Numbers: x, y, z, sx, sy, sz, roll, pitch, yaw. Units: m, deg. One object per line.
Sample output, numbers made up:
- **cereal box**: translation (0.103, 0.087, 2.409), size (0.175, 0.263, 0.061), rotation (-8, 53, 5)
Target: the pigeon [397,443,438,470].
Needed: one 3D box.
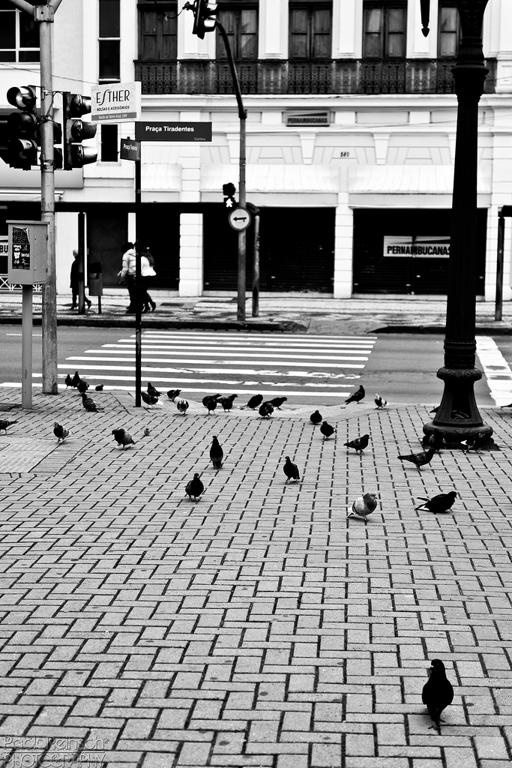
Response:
- **pigeon**: translation (1.422, 0.631, 11.155), size (0.289, 0.208, 0.540), rotation (1, 7, 4)

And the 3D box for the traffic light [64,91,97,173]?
- **traffic light**: translation (-2.200, -3.193, 15.686), size (0.405, 0.948, 0.650), rotation (0, 6, -9)

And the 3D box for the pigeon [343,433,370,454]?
- **pigeon**: translation (0.950, 0.549, 11.808), size (0.242, 0.231, 0.128), rotation (1, 3, 16)

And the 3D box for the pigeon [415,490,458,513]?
- **pigeon**: translation (1.353, 0.861, 9.334), size (0.297, 0.167, 0.296), rotation (0, 7, -3)

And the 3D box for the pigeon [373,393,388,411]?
- **pigeon**: translation (1.540, 0.202, 15.446), size (0.107, 0.161, 0.240), rotation (-4, 5, 17)

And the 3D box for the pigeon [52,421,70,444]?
- **pigeon**: translation (-1.909, 0.455, 12.112), size (0.091, 0.201, 0.282), rotation (0, 5, 7)

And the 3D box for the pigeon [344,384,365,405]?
- **pigeon**: translation (1.292, 0.115, 15.919), size (0.285, 0.286, 0.178), rotation (-9, 11, -21)

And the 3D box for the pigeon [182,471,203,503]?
- **pigeon**: translation (-0.472, 0.787, 9.695), size (0.136, 0.204, 0.365), rotation (0, 7, -4)

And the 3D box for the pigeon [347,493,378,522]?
- **pigeon**: translation (0.764, 0.863, 8.971), size (0.133, 0.122, 0.331), rotation (14, -16, -17)

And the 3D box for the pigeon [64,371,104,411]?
- **pigeon**: translation (-2.174, 0.075, 15.904), size (0.173, 0.346, 0.512), rotation (-16, 37, -28)
